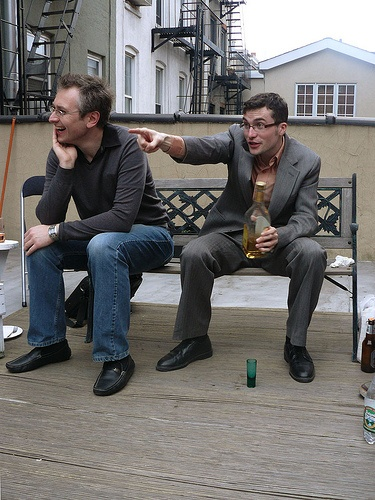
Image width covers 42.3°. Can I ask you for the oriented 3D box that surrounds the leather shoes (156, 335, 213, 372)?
[{"bbox_3d":[-0.001,0.523,2.540,0.347,0.136,0.114,-8,13,-41],"label":"leather shoes"}]

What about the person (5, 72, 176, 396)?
[{"bbox_3d":[-0.511,-0.136,2.466,0.651,1.469,0.768,2,8,20],"label":"person"}]

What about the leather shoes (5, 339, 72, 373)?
[{"bbox_3d":[-0.760,0.530,2.549,0.367,0.142,0.119,-6,6,-39],"label":"leather shoes"}]

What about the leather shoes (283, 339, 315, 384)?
[{"bbox_3d":[0.548,0.548,2.405,0.085,0.096,0.238,-5,7,-1],"label":"leather shoes"}]

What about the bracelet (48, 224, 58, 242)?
[{"bbox_3d":[-0.657,-0.085,2.352,0.052,0.074,0.077,-1,5,-44],"label":"bracelet"}]

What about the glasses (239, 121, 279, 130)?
[{"bbox_3d":[0.371,-0.637,2.491,0.184,0.053,0.099,1,7,16],"label":"glasses"}]

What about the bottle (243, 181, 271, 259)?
[{"bbox_3d":[0.349,-0.137,2.343,0.122,0.380,0.214,-2,8,-8],"label":"bottle"}]

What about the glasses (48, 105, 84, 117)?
[{"bbox_3d":[-0.599,-0.665,2.323,0.153,0.048,0.030,2,8,23],"label":"glasses"}]

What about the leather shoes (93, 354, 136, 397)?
[{"bbox_3d":[-0.331,0.558,2.196,0.092,0.085,0.229,4,21,16],"label":"leather shoes"}]
